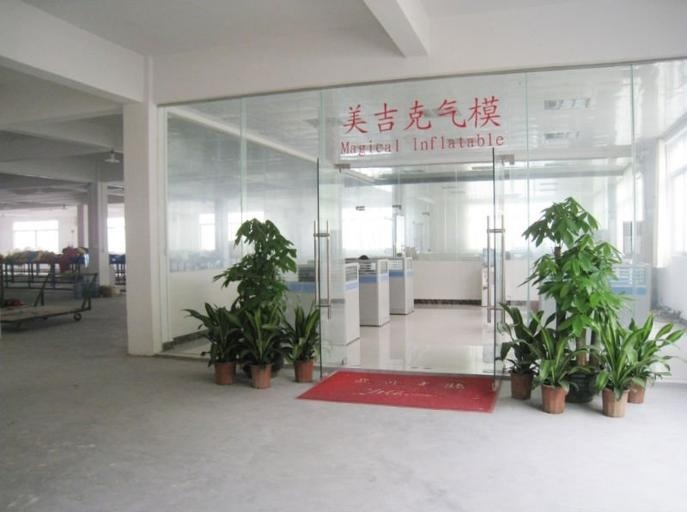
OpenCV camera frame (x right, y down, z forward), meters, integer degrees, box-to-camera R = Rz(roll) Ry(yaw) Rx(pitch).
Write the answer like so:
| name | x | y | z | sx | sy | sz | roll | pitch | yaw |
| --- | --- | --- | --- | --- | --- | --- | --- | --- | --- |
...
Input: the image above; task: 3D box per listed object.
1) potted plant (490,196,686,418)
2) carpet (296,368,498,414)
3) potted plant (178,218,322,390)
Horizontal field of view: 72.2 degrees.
| name | x | y | z | sx | sy | sz | roll | pitch | yaw |
| --- | --- | --- | --- | --- | --- | --- | --- | --- | --- |
| potted plant | 2.281 | 0.418 | 4.642 | 1.448 | 1.996 | 1.032 | -1 | 0 | 15 |
| carpet | 0.637 | 1.375 | 5.039 | 1.905 | 0.188 | 1.153 | -1 | 1 | 14 |
| potted plant | -0.929 | 0.484 | 5.338 | 1.297 | 1.558 | 0.622 | -1 | 0 | -1 |
